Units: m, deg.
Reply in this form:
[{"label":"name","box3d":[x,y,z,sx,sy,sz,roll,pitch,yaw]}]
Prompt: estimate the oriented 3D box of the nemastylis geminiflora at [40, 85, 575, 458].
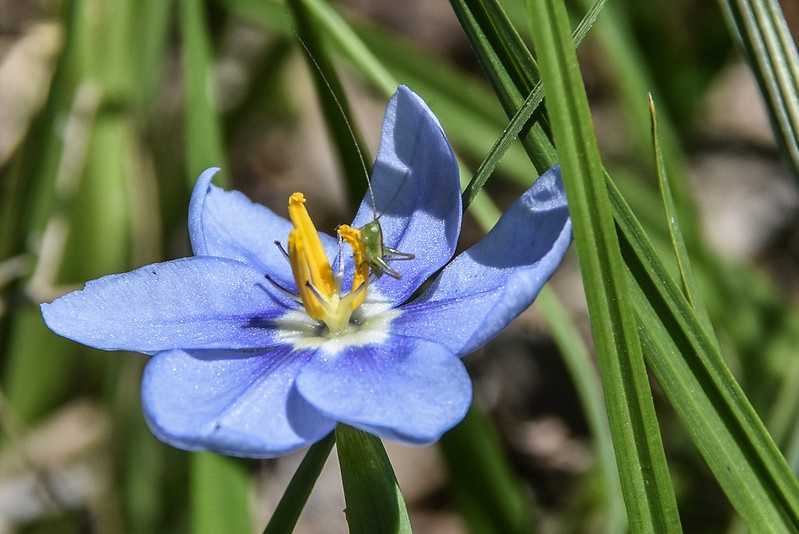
[{"label":"nemastylis geminiflora","box3d":[-0.139,0.022,1.607,0.699,0.328,0.835,41,76,6]}]
